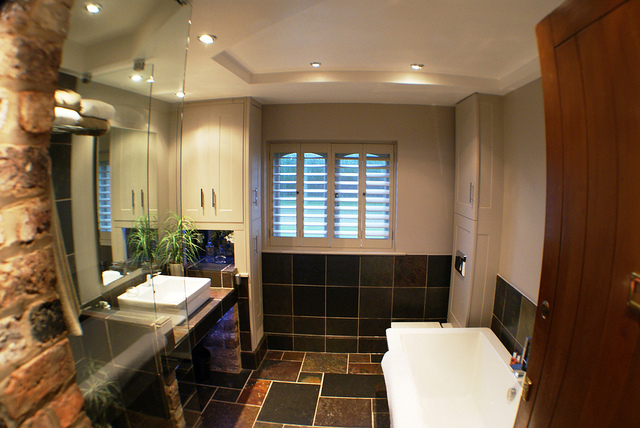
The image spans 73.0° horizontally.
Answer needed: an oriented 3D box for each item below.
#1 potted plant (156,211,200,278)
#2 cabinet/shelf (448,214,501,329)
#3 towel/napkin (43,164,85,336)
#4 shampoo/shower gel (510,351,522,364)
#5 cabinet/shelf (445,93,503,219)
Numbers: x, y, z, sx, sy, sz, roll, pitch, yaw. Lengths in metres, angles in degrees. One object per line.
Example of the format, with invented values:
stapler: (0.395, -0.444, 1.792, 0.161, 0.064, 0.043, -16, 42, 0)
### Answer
potted plant: (-0.440, 0.112, 1.334, 0.113, 0.158, 0.104, -1, 10, -10)
cabinet/shelf: (1.090, 0.450, 3.222, 0.199, 0.905, 0.463, -3, 13, -14)
towel/napkin: (-0.554, 0.099, 0.940, 0.038, 0.353, 0.091, -8, 15, -30)
shampoo/shower gel: (1.151, 0.849, 2.566, 0.035, 0.046, 0.106, -1, -5, 27)
cabinet/shelf: (1.127, -0.406, 3.132, 0.185, 0.877, 0.475, -1, 13, -3)
